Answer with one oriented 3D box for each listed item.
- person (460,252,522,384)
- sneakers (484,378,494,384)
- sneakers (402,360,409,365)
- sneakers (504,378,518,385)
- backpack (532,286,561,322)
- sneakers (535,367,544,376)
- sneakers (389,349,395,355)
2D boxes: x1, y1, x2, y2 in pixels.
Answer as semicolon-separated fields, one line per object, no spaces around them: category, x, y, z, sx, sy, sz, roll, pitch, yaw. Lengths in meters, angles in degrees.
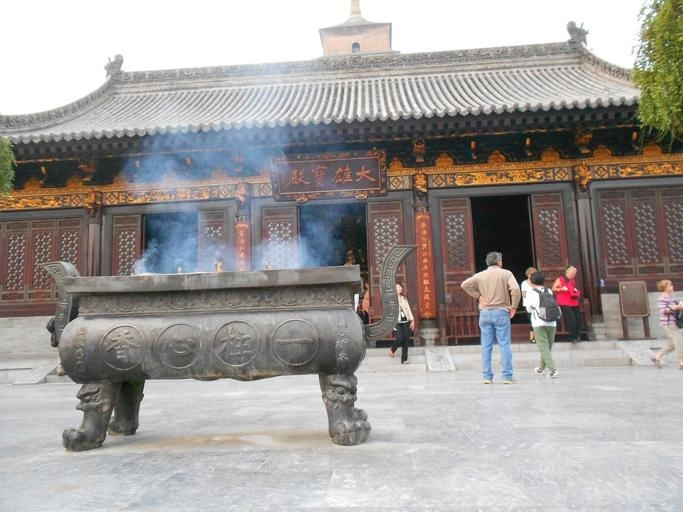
person;1.803;0.745;7.085;0.646;1.228;0.550;-2;-1;11
sneakers;1.726;1.468;6.924;0.112;0.060;0.146;2;1;12
sneakers;0.995;1.673;9.194;0.127;0.091;0.042;-6;-3;12
sneakers;1.994;1.497;6.923;0.225;0.083;0.076;-5;6;-43
backpack;2.562;0.613;7.347;0.268;0.387;0.246;-1;-7;-19
sneakers;2.629;1.523;7.789;0.112;0.087;0.212;0;-18;-2
sneakers;0.802;1.532;9.406;0.137;0.085;0.225;1;-3;3
